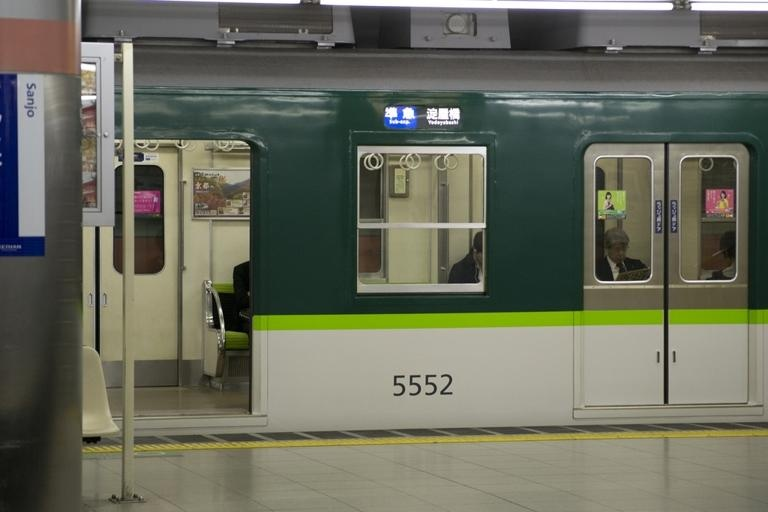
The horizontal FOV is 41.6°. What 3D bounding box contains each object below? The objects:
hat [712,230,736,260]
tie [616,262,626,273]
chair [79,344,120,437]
[{"bbox_3d":[3.653,-0.129,10.787,0.234,0.335,0.273,0,-5,19],"label":"hat"},{"bbox_3d":[2.506,0.121,10.685,0.068,0.102,0.024,0,-11,0],"label":"tie"},{"bbox_3d":[-2.512,1.221,8.930,0.277,0.747,0.572,-3,12,-16],"label":"chair"}]
